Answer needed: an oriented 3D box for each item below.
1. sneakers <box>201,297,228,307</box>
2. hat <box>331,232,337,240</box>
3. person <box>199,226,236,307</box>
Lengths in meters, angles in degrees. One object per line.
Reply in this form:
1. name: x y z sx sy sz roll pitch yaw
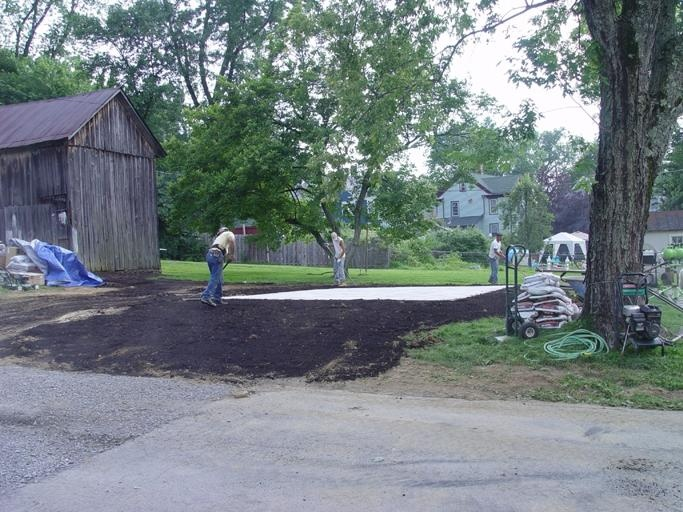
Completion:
1. sneakers: -2.701 0.995 16.059 0.634 0.254 0.211 1 1 -37
2. hat: -0.265 -0.634 24.204 0.206 0.266 0.270 1 12 8
3. person: -2.749 0.254 16.398 0.727 1.658 1.556 -2 14 -6
